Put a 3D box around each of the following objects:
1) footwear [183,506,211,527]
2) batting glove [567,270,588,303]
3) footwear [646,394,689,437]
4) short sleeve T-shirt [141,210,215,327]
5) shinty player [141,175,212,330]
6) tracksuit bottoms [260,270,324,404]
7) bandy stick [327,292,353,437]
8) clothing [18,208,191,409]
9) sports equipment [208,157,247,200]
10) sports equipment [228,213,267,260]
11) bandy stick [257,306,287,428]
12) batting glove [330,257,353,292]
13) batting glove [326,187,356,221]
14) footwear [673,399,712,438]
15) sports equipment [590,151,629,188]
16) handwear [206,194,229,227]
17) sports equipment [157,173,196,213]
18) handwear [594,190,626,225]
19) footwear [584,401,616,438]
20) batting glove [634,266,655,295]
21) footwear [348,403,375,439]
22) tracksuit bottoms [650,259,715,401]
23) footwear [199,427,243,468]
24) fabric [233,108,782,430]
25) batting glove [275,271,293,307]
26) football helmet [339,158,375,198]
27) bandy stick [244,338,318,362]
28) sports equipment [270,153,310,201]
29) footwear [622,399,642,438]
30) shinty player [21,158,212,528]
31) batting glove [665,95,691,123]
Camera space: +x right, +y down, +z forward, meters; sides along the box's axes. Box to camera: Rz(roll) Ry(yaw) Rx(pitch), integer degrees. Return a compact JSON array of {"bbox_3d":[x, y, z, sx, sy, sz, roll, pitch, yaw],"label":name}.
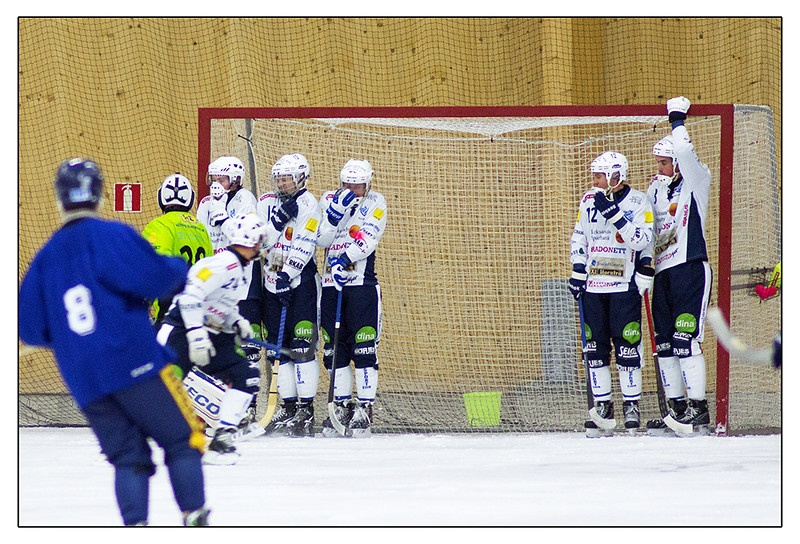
[{"bbox_3d":[-1.524,1.830,10.508,0.182,0.065,0.128,-2,0,-13],"label":"footwear"},{"bbox_3d":[1.696,0.100,13.388,0.180,0.226,0.236,0,9,-4],"label":"batting glove"},{"bbox_3d":[2.437,1.365,13.201,0.505,0.463,0.210,-1,-8,29],"label":"footwear"},{"bbox_3d":[-1.814,-0.015,11.428,0.407,0.909,0.976,4,5,32],"label":"short sleeve T-shirt"},{"bbox_3d":[-1.838,-0.196,12.570,0.713,1.505,0.491,-10,32,-4],"label":"shinty player"},{"bbox_3d":[-1.058,0.566,13.307,0.509,1.639,0.368,-1,22,3],"label":"tracksuit bottoms"},{"bbox_3d":[-0.588,0.838,13.117,0.177,1.375,0.299,-1,-3,-2],"label":"bandy stick"},{"bbox_3d":[-2.226,0.259,10.702,1.368,1.285,0.817,-15,-2,14],"label":"clothing"},{"bbox_3d":[-1.626,-0.921,13.367,0.378,0.351,0.288,-6,10,-12],"label":"sports equipment"},{"bbox_3d":[-1.268,-0.295,11.548,0.293,0.357,0.369,3,-7,8],"label":"sports equipment"},{"bbox_3d":[-1.200,0.866,13.228,0.105,1.257,0.179,5,-30,-4],"label":"bandy stick"},{"bbox_3d":[-0.553,0.006,13.131,0.131,0.291,0.218,-5,-21,1],"label":"batting glove"},{"bbox_3d":[-0.570,-0.654,13.226,0.264,0.127,0.421,-10,-9,-7],"label":"batting glove"},{"bbox_3d":[2.718,1.350,13.063,0.475,0.325,0.163,0,-3,-33],"label":"footwear"},{"bbox_3d":[1.997,-0.974,13.259,0.353,0.298,0.266,-2,1,0],"label":"sports equipment"},{"bbox_3d":[-1.718,-0.593,13.303,0.226,0.278,0.108,-2,-6,4],"label":"handwear"},{"bbox_3d":[-1.997,-0.708,12.507,0.284,0.353,0.304,5,-17,-19],"label":"sports equipment"},{"bbox_3d":[1.966,-0.592,13.080,0.117,0.330,0.244,-40,6,-8],"label":"handwear"},{"bbox_3d":[1.865,1.320,13.200,0.139,0.412,0.427,-17,-21,42],"label":"footwear"},{"bbox_3d":[2.296,0.062,13.072,0.186,0.244,0.253,-1,3,5],"label":"batting glove"},{"bbox_3d":[-0.352,1.358,13.119,0.161,0.335,0.486,9,13,6],"label":"footwear"},{"bbox_3d":[2.673,0.569,13.196,0.412,1.352,0.565,4,-5,-40],"label":"tracksuit bottoms"},{"bbox_3d":[-1.596,1.477,11.825,0.538,0.374,0.178,7,-9,-22],"label":"footwear"},{"bbox_3d":[1.000,0.126,13.492,4.567,2.855,1.437,-2,1,29],"label":"fabric"},{"bbox_3d":[-1.096,0.151,13.103,0.091,0.308,0.175,-5,6,-38],"label":"batting glove"},{"bbox_3d":[-0.378,-0.912,13.245,0.274,0.353,0.359,4,28,13],"label":"football helmet"},{"bbox_3d":[-1.084,0.706,12.926,0.209,0.083,0.909,14,-3,13],"label":"bandy stick"},{"bbox_3d":[-0.998,-0.899,13.206,0.408,0.388,0.343,-26,33,-36],"label":"sports equipment"},{"bbox_3d":[2.196,1.377,13.186,0.262,0.328,0.732,-1,-6,7],"label":"footwear"},{"bbox_3d":[-2.140,0.662,10.739,1.326,3.007,0.997,-14,3,12],"label":"shinty player"},{"bbox_3d":[2.634,-1.536,13.129,0.216,0.239,0.105,6,2,19],"label":"batting glove"}]
